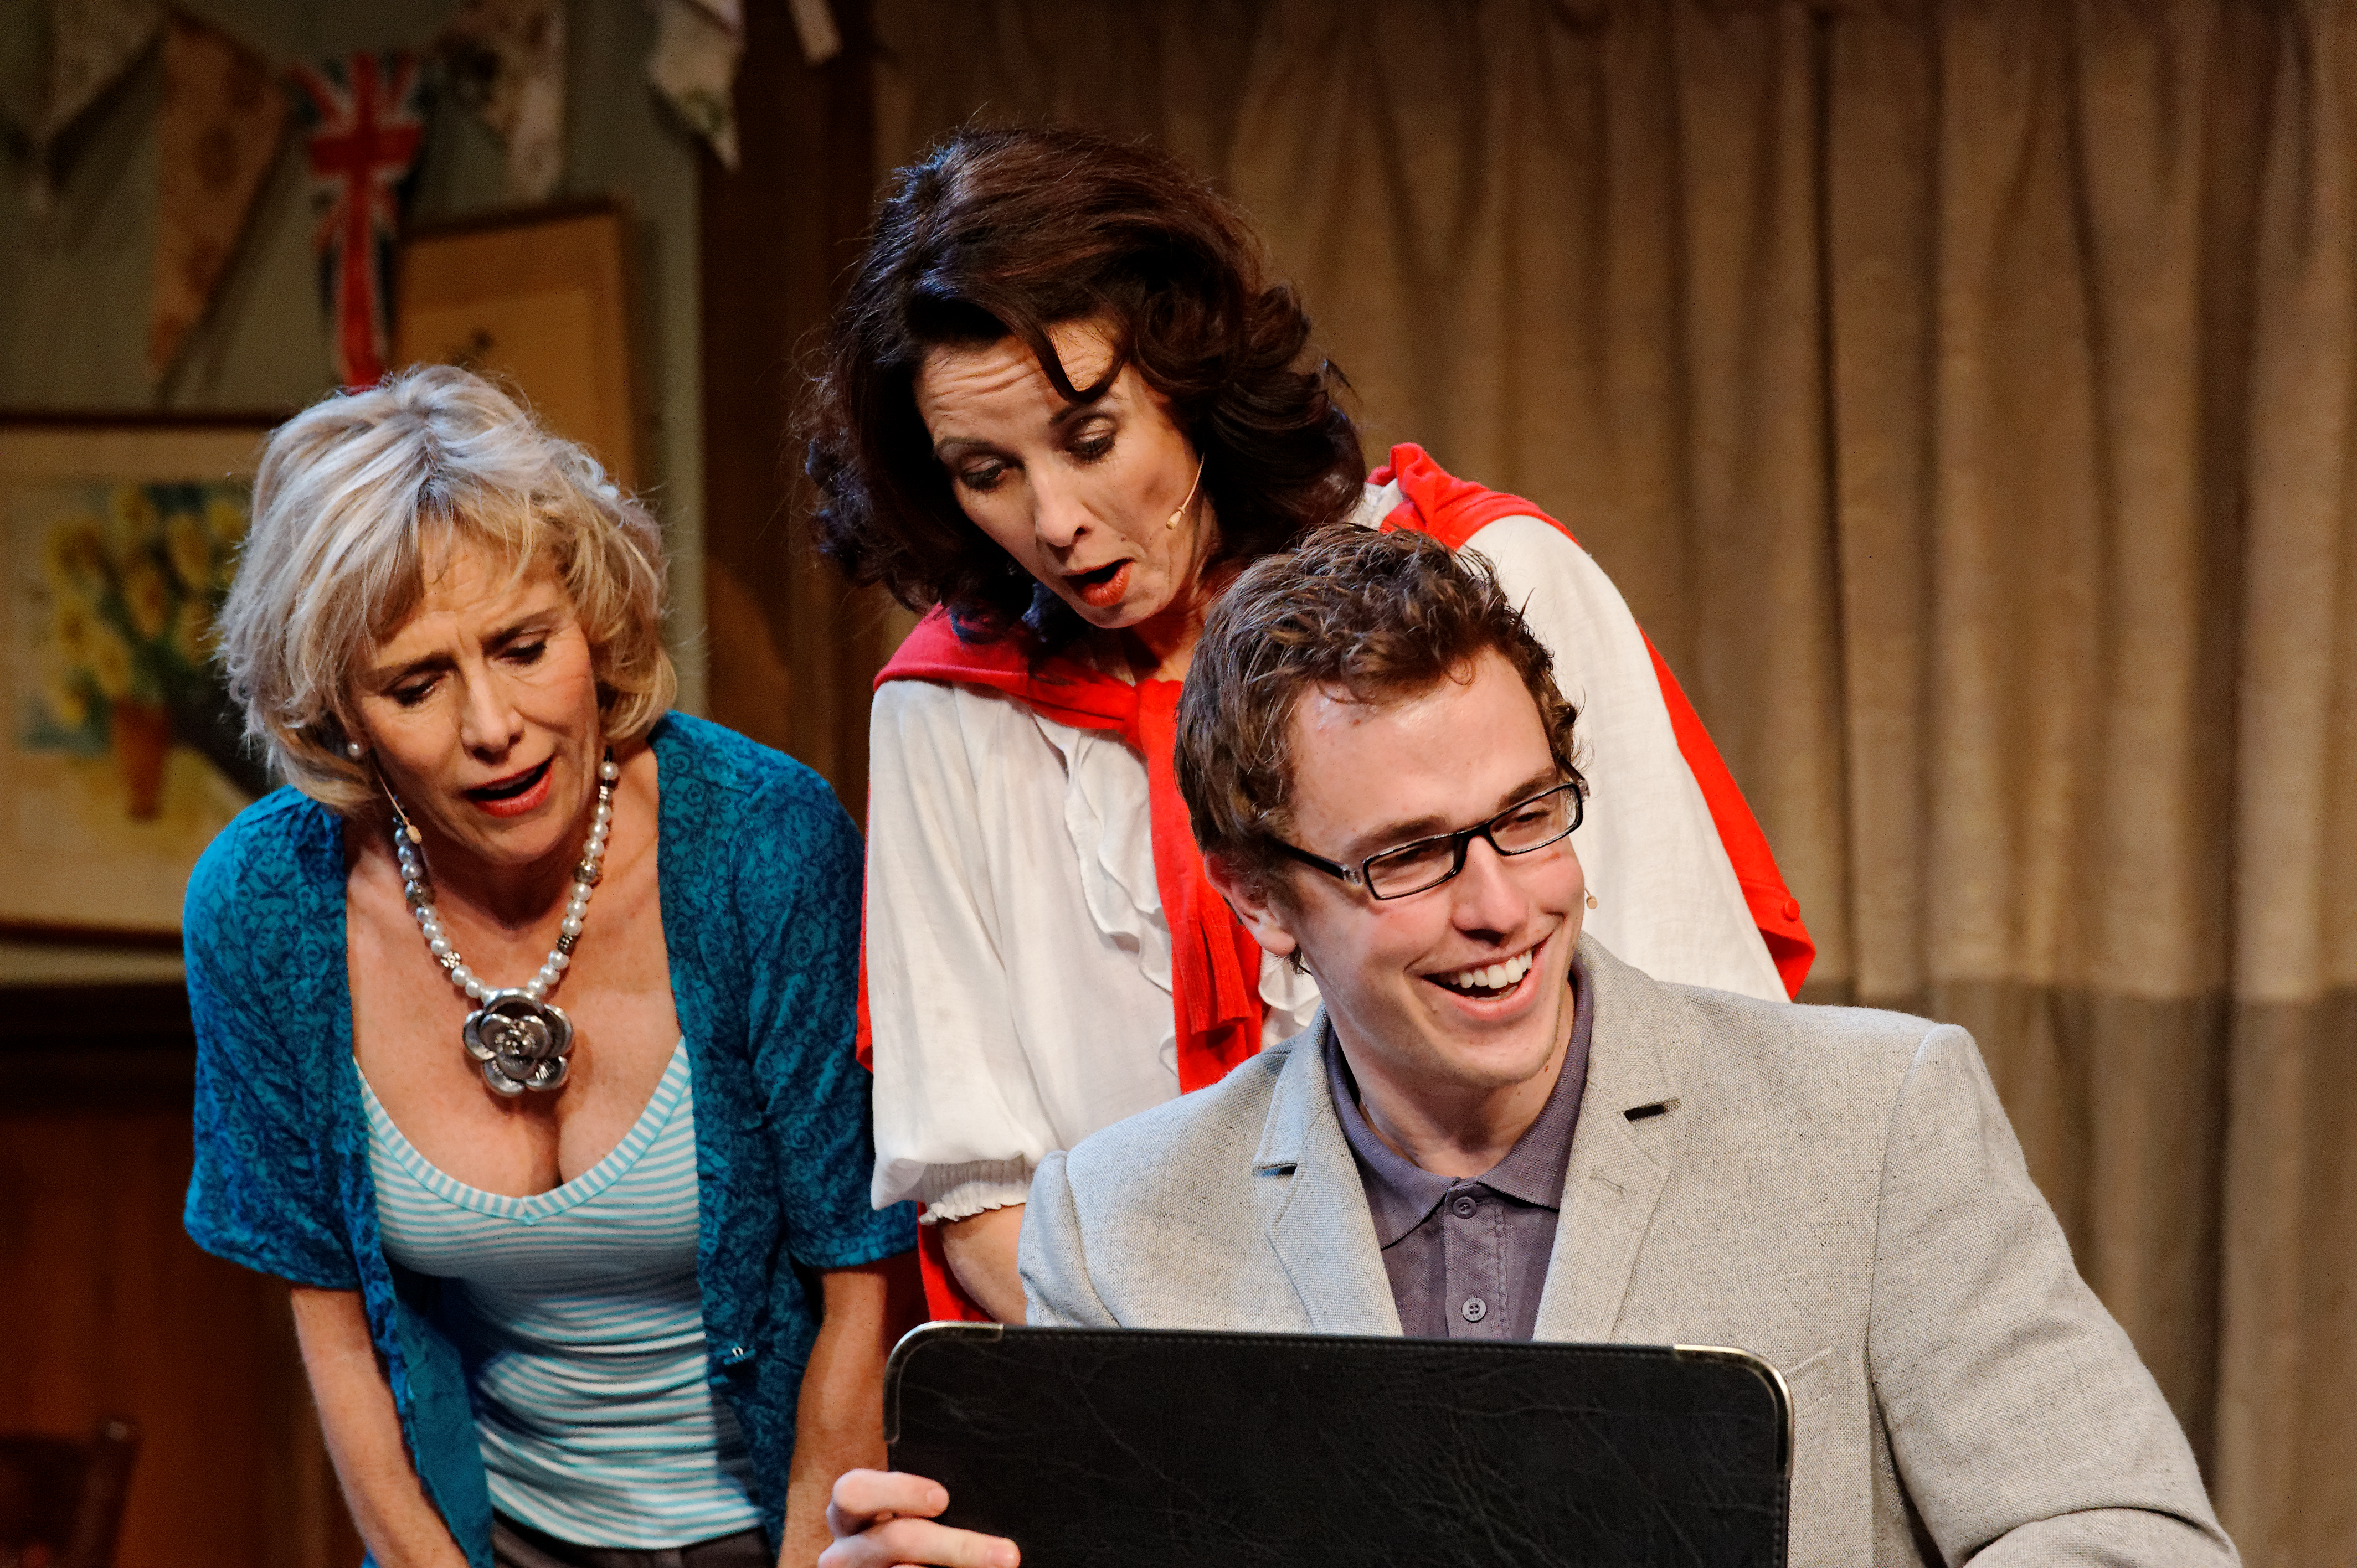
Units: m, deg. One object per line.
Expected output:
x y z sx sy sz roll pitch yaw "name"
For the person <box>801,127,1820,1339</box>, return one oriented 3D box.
0.148 0.114 3.426 1.110 1.926 0.855 -2 19 14 "person"
